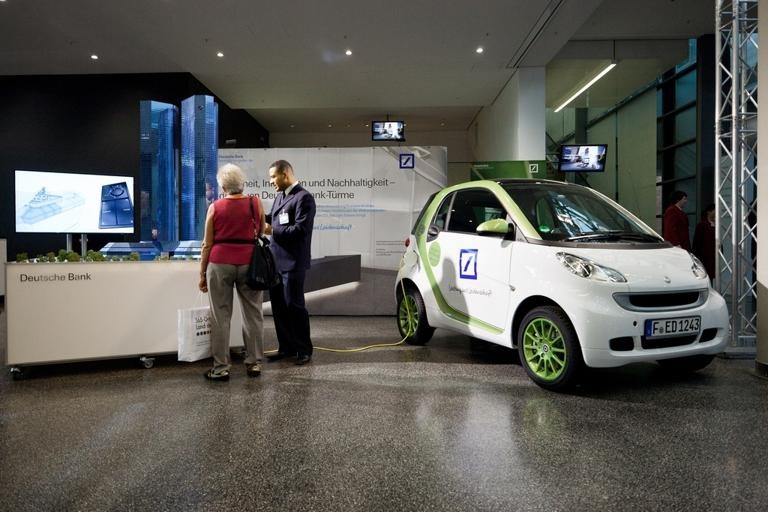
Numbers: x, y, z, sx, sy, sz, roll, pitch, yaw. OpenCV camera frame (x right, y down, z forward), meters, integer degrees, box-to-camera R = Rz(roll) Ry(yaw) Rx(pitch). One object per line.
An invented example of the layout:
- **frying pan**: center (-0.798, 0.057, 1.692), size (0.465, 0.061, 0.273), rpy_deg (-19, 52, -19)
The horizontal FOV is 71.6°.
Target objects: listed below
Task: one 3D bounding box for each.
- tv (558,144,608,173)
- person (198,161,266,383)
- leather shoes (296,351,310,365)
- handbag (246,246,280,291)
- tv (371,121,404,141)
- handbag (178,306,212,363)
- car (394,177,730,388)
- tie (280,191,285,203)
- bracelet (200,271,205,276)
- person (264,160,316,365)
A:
- **tv**: center (4.916, -2.427, 13.256), size (1.066, 0.680, 0.806), rpy_deg (3, 13, 16)
- **person**: center (-1.643, 0.186, 5.747), size (0.723, 2.275, 0.433), rpy_deg (-4, 11, -18)
- **leather shoes**: center (-0.968, 1.223, 6.245), size (0.078, 0.094, 0.216), rpy_deg (-1, -3, 11)
- **handbag**: center (-1.316, 0.138, 5.692), size (0.195, 0.502, 0.369), rpy_deg (10, 16, 43)
- **tv**: center (0.105, -3.839, 16.293), size (0.911, 0.493, 0.295), rpy_deg (2, 12, 10)
- **handbag**: center (-2.099, 0.865, 5.862), size (0.198, 0.596, 0.587), rpy_deg (-1, 5, 12)
- **car**: center (1.603, 0.250, 6.372), size (1.943, 1.963, 3.398), rpy_deg (0, 0, -28)
- **tie**: center (-1.206, -0.705, 6.330), size (0.068, 0.110, 0.023), rpy_deg (2, -11, 37)
- **bracelet**: center (-1.959, 0.187, 5.713), size (0.042, 0.052, 0.034), rpy_deg (6, 5, 7)
- **person**: center (-1.115, 0.087, 6.274), size (0.551, 2.326, 0.432), rpy_deg (4, 12, 22)
